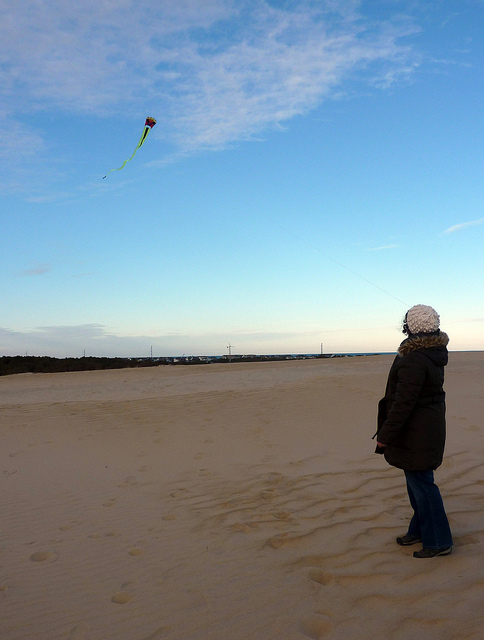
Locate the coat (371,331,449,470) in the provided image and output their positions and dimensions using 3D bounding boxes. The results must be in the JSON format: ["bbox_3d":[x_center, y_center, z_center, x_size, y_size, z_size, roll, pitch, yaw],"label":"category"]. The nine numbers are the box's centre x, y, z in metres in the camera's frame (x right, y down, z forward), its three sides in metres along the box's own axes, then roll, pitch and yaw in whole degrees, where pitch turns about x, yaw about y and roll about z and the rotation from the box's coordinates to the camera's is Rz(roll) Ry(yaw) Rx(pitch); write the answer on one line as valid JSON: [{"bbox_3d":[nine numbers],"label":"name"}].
[{"bbox_3d":[1.243,0.588,3.550,0.528,0.942,0.289,-3,0,15],"label":"coat"}]
